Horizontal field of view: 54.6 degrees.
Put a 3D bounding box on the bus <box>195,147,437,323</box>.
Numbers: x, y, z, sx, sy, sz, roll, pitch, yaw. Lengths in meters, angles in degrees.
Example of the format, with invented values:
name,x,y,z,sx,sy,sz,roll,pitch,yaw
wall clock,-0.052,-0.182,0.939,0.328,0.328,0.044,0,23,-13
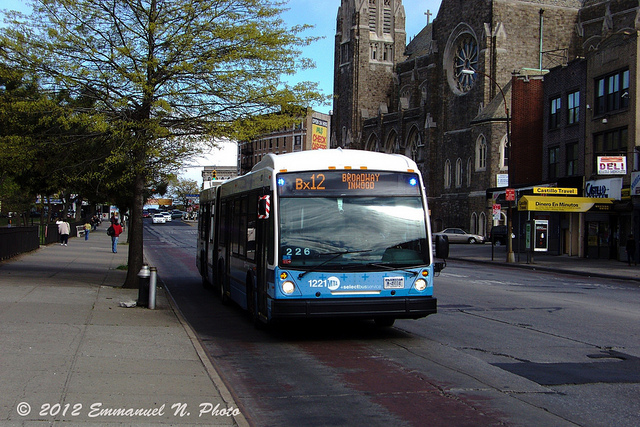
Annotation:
name,x,y,z,sx,sy,sz,roll,pitch,yaw
bus,-0.546,0.509,14.963,3.294,3.957,6.445,1,1,-26

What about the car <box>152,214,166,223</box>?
name,x,y,z,sx,sy,sz,roll,pitch,yaw
car,-25.326,0.765,97.144,1.806,1.193,2.175,1,1,-16

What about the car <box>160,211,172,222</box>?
name,x,y,z,sx,sy,sz,roll,pitch,yaw
car,-25.866,0.225,103.883,1.824,1.581,3.224,-1,-8,-21

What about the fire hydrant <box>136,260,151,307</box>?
name,x,y,z,sx,sy,sz,roll,pitch,yaw
fire hydrant,-4.652,1.859,16.331,0.351,1.146,0.731,1,1,-17

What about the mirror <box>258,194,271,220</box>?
name,x,y,z,sx,sy,sz,roll,pitch,yaw
mirror,-1.146,-0.149,12.724,0.256,0.497,0.488,1,1,-6

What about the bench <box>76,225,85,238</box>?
name,x,y,z,sx,sy,sz,roll,pitch,yaw
bench,-24.904,1.811,64.333,1.003,1.256,0.889,3,-7,-40

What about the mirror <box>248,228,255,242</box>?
name,x,y,z,sx,sy,sz,roll,pitch,yaw
mirror,-1.590,0.469,14.296,0.067,0.296,0.173,0,5,-45
